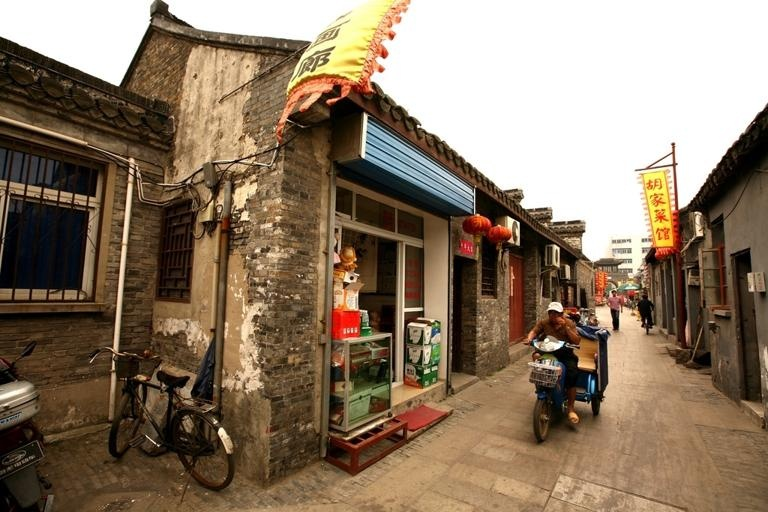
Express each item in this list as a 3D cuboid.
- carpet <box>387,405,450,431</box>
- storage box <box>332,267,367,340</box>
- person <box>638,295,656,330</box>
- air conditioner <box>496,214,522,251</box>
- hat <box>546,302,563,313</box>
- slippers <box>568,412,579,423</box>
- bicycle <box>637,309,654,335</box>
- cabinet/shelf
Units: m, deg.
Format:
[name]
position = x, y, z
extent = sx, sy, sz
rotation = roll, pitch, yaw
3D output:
[carpet]
position = 0.583, 2.841, 8.626
extent = 0.506, 0.141, 0.894
rotation = 6, 5, 36
[storage box]
position = -0.599, 0.797, 8.145
extent = 0.466, 1.111, 0.677
rotation = -2, -7, -2
[person]
position = 10.277, 2.201, 19.413
extent = 0.471, 1.352, 1.376
rotation = -5, -8, 26
[air conditioner]
position = 2.967, -0.563, 11.805
extent = 0.270, 0.719, 0.869
rotation = -3, -7, 33
[hat]
position = 3.119, 0.943, 8.943
extent = 0.264, 0.129, 0.404
rotation = -2, -10, 22
[slippers]
position = 3.305, 2.814, 8.601
extent = 0.191, 0.127, 0.344
rotation = -4, -9, 24
[bicycle]
position = 10.190, 2.666, 19.636
extent = 0.770, 0.927, 1.616
rotation = -2, -6, 27
[cabinet/shelf]
position = -0.394, 2.142, 7.939
extent = 0.697, 1.633, 1.776
rotation = -3, -7, 34
